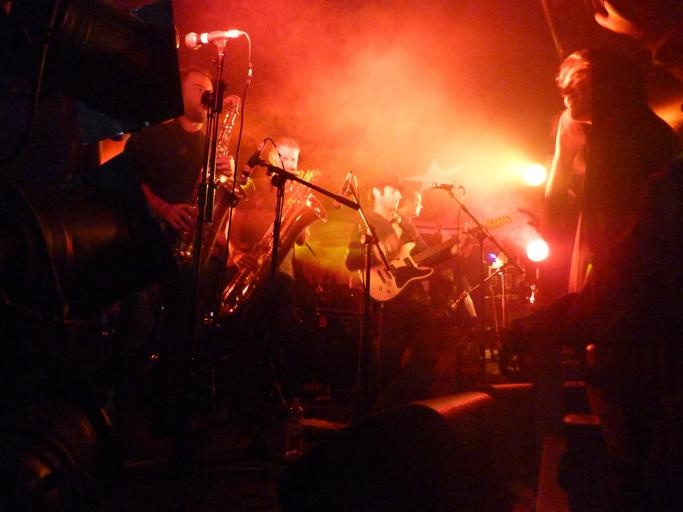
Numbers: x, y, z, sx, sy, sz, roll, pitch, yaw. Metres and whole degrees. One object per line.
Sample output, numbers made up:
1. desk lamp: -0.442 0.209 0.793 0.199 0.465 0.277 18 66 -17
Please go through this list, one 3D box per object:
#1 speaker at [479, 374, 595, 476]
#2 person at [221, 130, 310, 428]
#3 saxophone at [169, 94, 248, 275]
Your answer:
1. speaker: 0.701 0.624 2.252 0.140 0.371 0.401 -7 -76 -42
2. person: -0.626 0.026 4.665 0.737 0.551 2.227 -2 -105 9
3. saxophone: -0.837 -0.420 3.880 0.353 0.132 1.341 18 -39 -4
